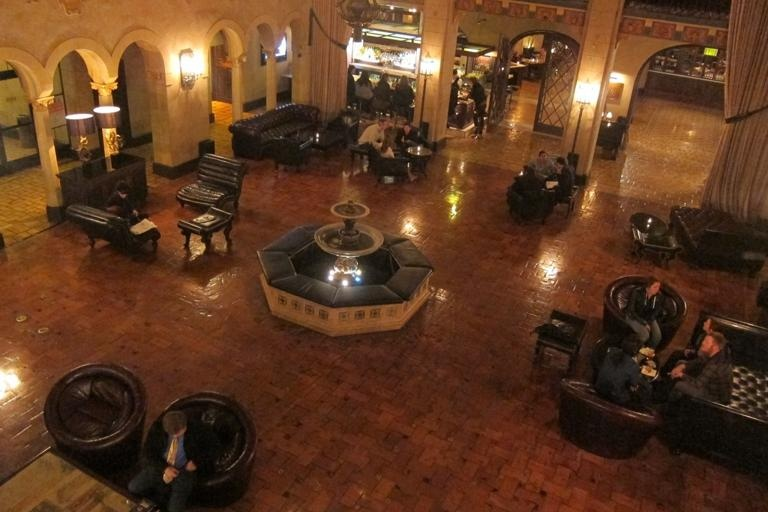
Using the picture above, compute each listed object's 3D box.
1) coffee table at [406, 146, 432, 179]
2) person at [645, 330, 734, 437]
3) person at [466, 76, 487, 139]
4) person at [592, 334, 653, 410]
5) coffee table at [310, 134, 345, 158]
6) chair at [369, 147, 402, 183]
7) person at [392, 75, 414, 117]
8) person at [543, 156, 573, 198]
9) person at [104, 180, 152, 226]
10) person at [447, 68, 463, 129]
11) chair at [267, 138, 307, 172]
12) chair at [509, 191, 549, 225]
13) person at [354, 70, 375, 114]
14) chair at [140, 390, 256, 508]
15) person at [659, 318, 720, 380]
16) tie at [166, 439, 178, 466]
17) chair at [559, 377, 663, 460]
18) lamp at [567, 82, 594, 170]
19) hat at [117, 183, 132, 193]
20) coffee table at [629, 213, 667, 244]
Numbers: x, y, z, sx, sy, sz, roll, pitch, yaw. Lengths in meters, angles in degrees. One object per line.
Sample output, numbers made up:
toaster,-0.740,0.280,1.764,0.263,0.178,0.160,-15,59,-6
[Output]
coffee table,0.987,-2.704,15.460,0.869,0.747,0.833,2,47,2
person,4.822,2.047,8.348,1.014,1.403,0.689,18,56,22
person,3.235,-5.074,18.350,0.565,1.840,0.826,-12,28,-28
person,3.681,1.833,8.204,0.657,1.033,0.468,-38,57,-14
coffee table,-1.782,-3.326,16.007,0.754,0.378,1.103,28,49,22
chair,-0.037,-2.590,14.971,0.916,0.974,1.012,-4,42,-7
person,0.655,-5.508,18.681,0.755,1.402,0.570,3,25,1
person,4.491,-1.998,13.674,0.638,1.077,0.719,-4,25,-14
person,-5.572,-1.118,11.521,0.865,0.979,0.699,10,24,-12
person,2.401,-5.239,18.166,0.844,2.550,0.655,2,59,8
chair,-2.710,-2.858,15.017,0.931,1.038,0.939,10,50,7
chair,3.633,-1.188,13.384,0.888,1.055,0.843,-3,48,0
person,-0.701,-5.883,19.236,0.666,1.406,0.442,3,25,0
chair,-2.249,2.499,7.192,1.442,0.977,1.406,13,39,4
person,5.112,1.576,8.915,0.542,0.847,0.330,19,56,13
tie,-2.643,2.434,6.642,0.162,0.375,0.078,1,25,-4
chair,3.530,2.442,8.163,1.421,0.833,1.147,-21,28,-30
lamp,5.597,-3.749,15.304,0.548,2.318,0.299,12,26,19
hat,-5.546,-1.432,11.310,0.228,0.266,0.219,-18,31,-38
coffee table,6.175,-0.674,12.411,0.719,0.343,0.693,11,54,14
